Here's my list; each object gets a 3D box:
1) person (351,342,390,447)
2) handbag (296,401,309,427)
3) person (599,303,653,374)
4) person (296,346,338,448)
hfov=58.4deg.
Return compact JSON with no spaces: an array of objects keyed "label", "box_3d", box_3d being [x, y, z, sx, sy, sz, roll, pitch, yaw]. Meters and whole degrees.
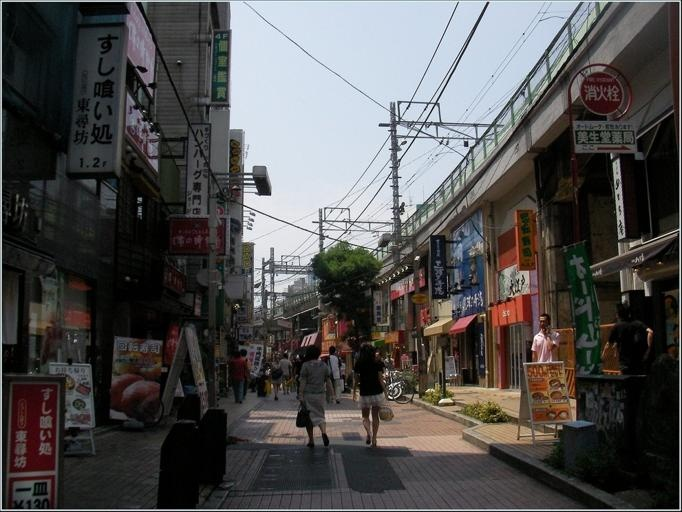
[{"label":"person","box_3d":[0.586,2.852,12.503,0.562,2.001,0.694,1,-11,-9]},{"label":"handbag","box_3d":[-0.771,3.175,12.196,0.266,0.496,0.570,-1,-15,-4]},{"label":"person","box_3d":[5.109,1.866,10.868,0.875,2.003,0.441,-10,-3,32]},{"label":"person","box_3d":[-0.464,2.855,12.338,0.659,1.810,0.897,1,-4,-15]}]
